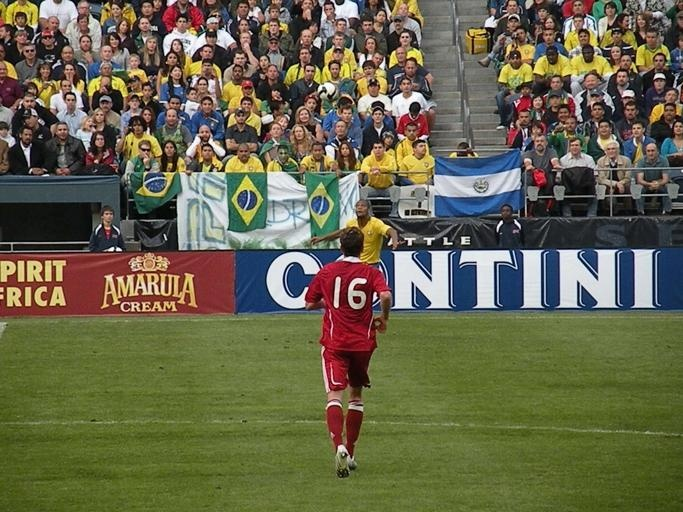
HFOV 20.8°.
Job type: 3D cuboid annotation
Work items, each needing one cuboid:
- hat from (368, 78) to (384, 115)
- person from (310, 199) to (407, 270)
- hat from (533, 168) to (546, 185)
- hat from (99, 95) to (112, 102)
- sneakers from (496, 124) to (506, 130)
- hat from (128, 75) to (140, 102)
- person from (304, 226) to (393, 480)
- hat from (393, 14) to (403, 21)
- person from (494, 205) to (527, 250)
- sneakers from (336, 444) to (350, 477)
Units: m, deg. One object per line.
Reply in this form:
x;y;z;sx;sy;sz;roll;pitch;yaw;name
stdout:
0.798;-3.976;46.221;0.624;0.645;0.571;-1;-10;1;hat
0.349;-0.379;40.409;1.488;1.753;0.738;-4;1;20;person
4.714;-1.772;44.305;0.355;0.446;0.172;-2;3;0;hat
-5.787;-3.727;45.637;0.302;0.185;0.298;-3;3;-11;hat
4.040;-3.170;47.295;0.152;0.154;0.358;0;-4;9;sneakers
-5.169;-4.175;46.560;0.327;0.449;0.672;-3;3;-15;hat
0.144;1.691;33.302;1.260;4.267;1.067;-4;3;-20;person
1.471;-6.044;48.442;0.255;0.136;0.372;0;-3;10;hat
3.972;-0.260;43.940;0.682;1.712;0.532;-6;-18;6;person
0.035;3.570;32.795;0.209;0.579;0.270;0;0;4;sneakers
